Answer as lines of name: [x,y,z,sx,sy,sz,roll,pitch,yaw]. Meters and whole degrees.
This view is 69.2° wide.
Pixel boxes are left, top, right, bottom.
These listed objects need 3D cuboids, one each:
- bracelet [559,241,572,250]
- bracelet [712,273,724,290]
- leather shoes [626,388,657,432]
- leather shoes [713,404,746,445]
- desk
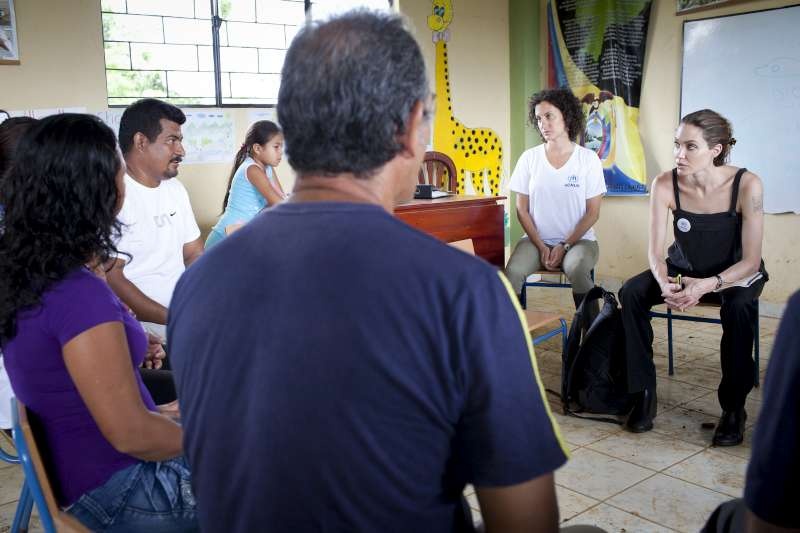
bracelet: [1.199,-0.150,4.221,0.050,0.069,0.077,-43,2,-12]
bracelet: [1.765,0.079,3.196,0.045,0.076,0.074,6,-5,7]
leather shoes: [1.325,0.783,3.173,0.126,0.268,0.269,2,4,33]
leather shoes: [1.713,0.830,3.000,0.102,0.134,0.301,-4,-4,33]
desk: [0.442,-0.252,4.546,0.741,0.545,0.408,-5,13,-12]
